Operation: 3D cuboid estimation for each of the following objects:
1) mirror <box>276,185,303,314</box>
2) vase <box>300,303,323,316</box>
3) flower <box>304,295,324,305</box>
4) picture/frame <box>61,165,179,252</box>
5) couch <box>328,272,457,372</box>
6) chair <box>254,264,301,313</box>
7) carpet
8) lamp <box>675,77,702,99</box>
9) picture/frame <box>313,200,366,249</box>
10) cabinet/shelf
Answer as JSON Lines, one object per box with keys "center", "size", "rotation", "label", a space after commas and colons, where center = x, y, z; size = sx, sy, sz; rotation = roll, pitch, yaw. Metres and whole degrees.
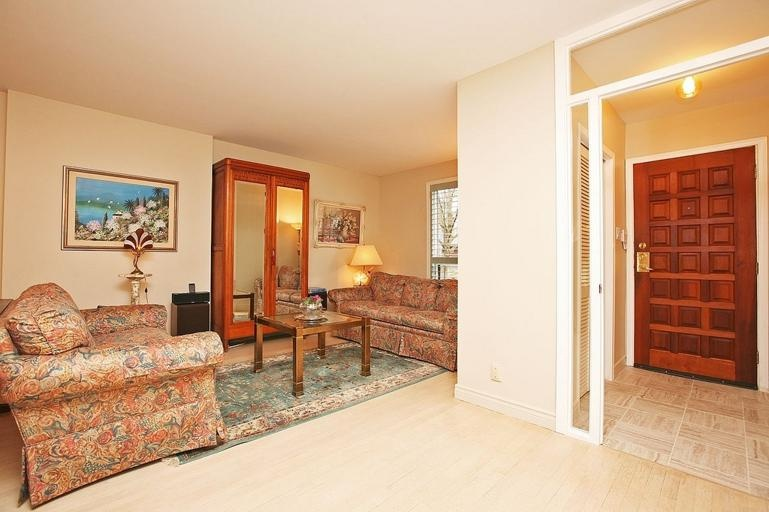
{"center": [-1.511, -0.048, 6.683], "size": [0.082, 1.894, 0.413], "rotation": [-10, -11, -21], "label": "mirror"}
{"center": [-0.853, 0.613, 5.303], "size": [0.180, 0.096, 0.173], "rotation": [-1, -4, 7], "label": "vase"}
{"center": [-0.907, 0.545, 5.776], "size": [0.247, 0.134, 0.236], "rotation": [0, -4, 8], "label": "flower"}
{"center": [-3.214, -0.520, 5.783], "size": [1.393, 0.950, 0.406], "rotation": [4, 3, -3], "label": "picture/frame"}
{"center": [0.300, 0.761, 6.460], "size": [2.382, 0.932, 0.893], "rotation": [5, 8, 43], "label": "couch"}
{"center": [-1.397, 0.489, 6.600], "size": [0.836, 0.635, 0.457], "rotation": [5, 13, 36], "label": "chair"}
{"center": [-0.652, 1.354, 5.389], "size": [1.499, 0.060, 2.306], "rotation": [9, 7, 40], "label": "carpet"}
{"center": [3.071, -1.701, 4.651], "size": [0.256, 0.186, 0.150], "rotation": [-4, 3, -37], "label": "lamp"}
{"center": [-0.769, -0.512, 7.817], "size": [0.036, 0.750, 1.133], "rotation": [4, 1, 41], "label": "picture/frame"}
{"center": [-1.811, -0.034, 6.645], "size": [1.355, 2.384, 0.660], "rotation": [0, 2, -44], "label": "cabinet/shelf"}
